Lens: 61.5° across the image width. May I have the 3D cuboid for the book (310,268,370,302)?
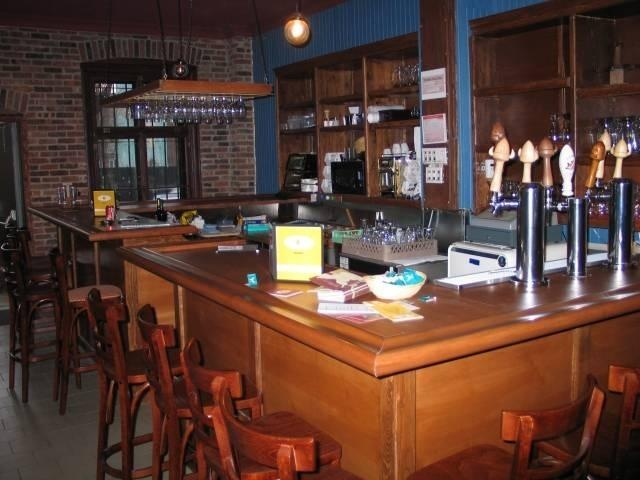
[{"bbox_3d":[0.093,0.204,2.366,0.144,0.046,0.150,12,17,36],"label":"book"}]

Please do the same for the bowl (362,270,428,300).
[{"bbox_3d":[0.324,0.191,2.317,0.255,0.117,0.164,-1,11,5],"label":"bowl"}]

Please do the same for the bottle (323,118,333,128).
[{"bbox_3d":[0.098,-1.369,6.290,0.128,0.128,0.069,8,18,24],"label":"bottle"}]

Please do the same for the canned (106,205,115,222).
[{"bbox_3d":[-1.857,-0.234,4.795,0.061,0.178,0.074,1,5,-35],"label":"canned"}]

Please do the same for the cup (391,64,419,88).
[{"bbox_3d":[0.856,-1.598,5.269,0.266,0.204,0.195,2,8,23],"label":"cup"}]

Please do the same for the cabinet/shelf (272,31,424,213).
[{"bbox_3d":[0.332,-1.337,6.202,0.616,1.605,2.532,-9,12,-33],"label":"cabinet/shelf"}]
